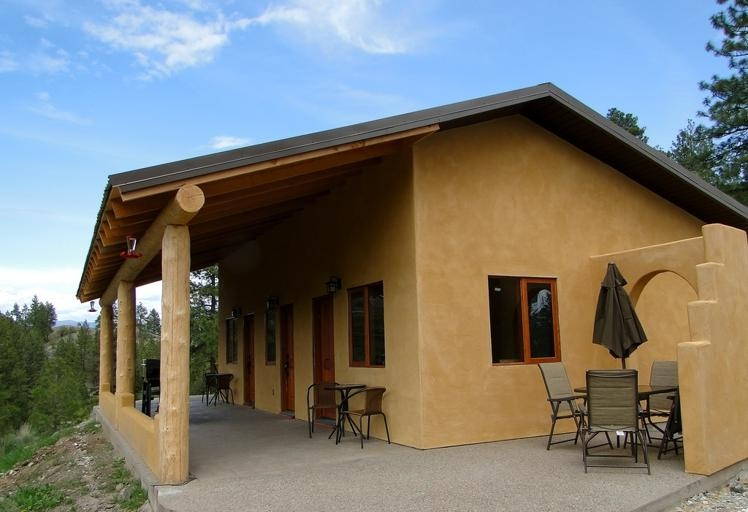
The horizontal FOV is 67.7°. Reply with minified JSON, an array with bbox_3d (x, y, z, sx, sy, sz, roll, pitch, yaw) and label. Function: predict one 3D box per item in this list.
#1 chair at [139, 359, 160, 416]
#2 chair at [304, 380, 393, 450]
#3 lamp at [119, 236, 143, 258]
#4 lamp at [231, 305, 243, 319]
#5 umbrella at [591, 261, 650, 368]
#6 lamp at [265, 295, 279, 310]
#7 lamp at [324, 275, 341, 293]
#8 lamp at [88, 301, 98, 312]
[{"bbox_3d":[-5.371,3.224,13.814,0.660,1.116,0.843,5,6,-23],"label":"chair"},{"bbox_3d":[-0.452,2.928,10.607,0.877,1.157,1.997,6,-18,-27],"label":"chair"},{"bbox_3d":[-3.918,-0.155,9.026,0.298,0.293,0.304,-4,-11,40],"label":"lamp"},{"bbox_3d":[-4.037,1.775,16.677,0.302,0.546,0.578,4,-11,-31],"label":"lamp"},{"bbox_3d":[3.988,0.971,9.128,0.764,1.702,0.385,-3,-3,26],"label":"umbrella"},{"bbox_3d":[-2.613,1.205,14.279,0.334,0.435,0.483,5,-9,-25],"label":"lamp"},{"bbox_3d":[-0.835,0.585,11.560,0.330,0.452,0.309,6,-11,-28],"label":"lamp"},{"bbox_3d":[-7.854,1.421,15.583,0.215,0.245,0.229,-2,-3,-2],"label":"lamp"}]
